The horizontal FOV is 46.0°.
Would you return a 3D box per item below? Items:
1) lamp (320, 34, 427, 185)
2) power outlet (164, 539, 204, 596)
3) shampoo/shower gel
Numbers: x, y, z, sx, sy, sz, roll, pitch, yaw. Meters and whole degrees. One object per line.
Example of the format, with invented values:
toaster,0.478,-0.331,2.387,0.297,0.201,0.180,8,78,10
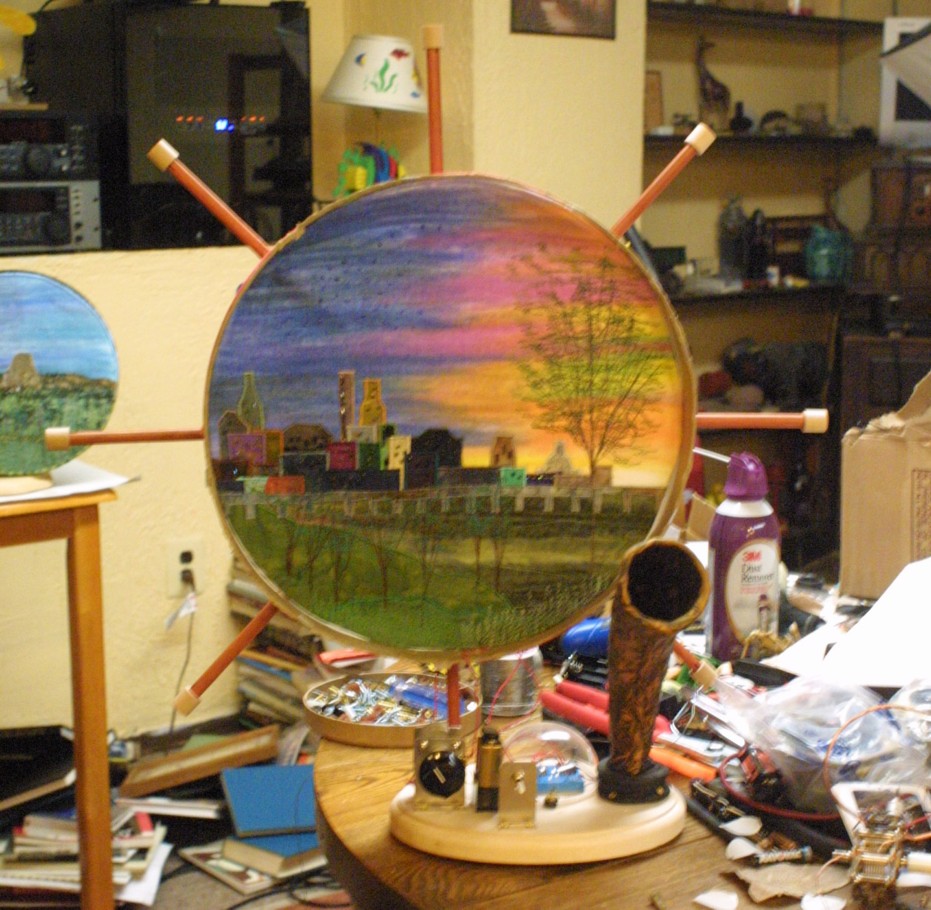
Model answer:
lamp,-0.236,-0.912,2.933,0.260,0.426,0.337,-1,5,-4
power outlet,-0.685,0.271,2.686,0.104,0.152,0.016,-4,6,-39
shampoo/shower gel,0.371,0.132,1.429,0.118,0.270,0.090,-1,5,-9
